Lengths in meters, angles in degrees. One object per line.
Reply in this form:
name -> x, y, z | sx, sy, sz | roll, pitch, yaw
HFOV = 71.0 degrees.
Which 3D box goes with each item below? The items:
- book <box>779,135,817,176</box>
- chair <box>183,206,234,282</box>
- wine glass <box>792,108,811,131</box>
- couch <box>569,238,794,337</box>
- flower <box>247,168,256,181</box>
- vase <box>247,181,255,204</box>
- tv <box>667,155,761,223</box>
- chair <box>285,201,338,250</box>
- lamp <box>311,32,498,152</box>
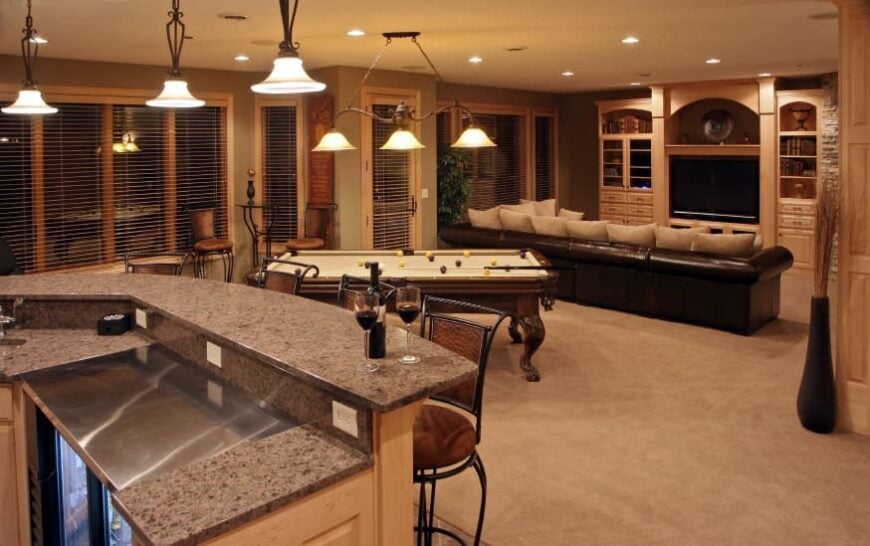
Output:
book -> 6.150, -1.980, 10.365 | 0.610, 0.675, 0.301 | 11, 14, 35
chair -> -3.312, -0.369, 9.034 | 0.647, 1.118, 0.731 | 0, 12, -18
wine glass -> 6.253, -2.647, 10.511 | 0.166, 0.352, 0.319 | 0, 12, -18
couch -> 3.114, 0.108, 7.950 | 2.423, 1.078, 0.812 | 9, 13, 29
flower -> -2.826, -1.500, 9.372 | 0.138, 0.185, 0.255 | 0, 12, -18
vase -> -2.832, -1.238, 9.387 | 0.139, 0.326, 0.293 | 0, 12, -17
tv -> 5.231, -1.558, 11.308 | 0.144, 0.943, 1.405 | -8, 9, -43
chair -> -1.923, -0.710, 8.911 | 0.737, 0.659, 0.821 | -6, 15, -40
lamp -> -0.297, -2.001, 6.694 | 2.113, 1.287, 1.540 | -3, 13, -8
